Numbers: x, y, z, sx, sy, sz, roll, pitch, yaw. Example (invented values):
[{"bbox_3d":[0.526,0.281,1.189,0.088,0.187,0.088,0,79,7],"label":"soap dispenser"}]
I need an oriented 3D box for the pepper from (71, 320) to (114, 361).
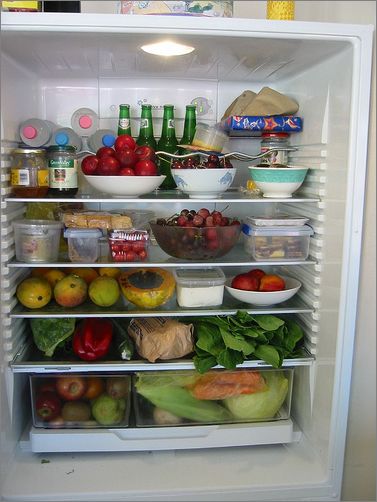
[{"bbox_3d":[-0.306,0.274,1.291,0.122,0.080,0.198,8,18,-8],"label":"pepper"}]

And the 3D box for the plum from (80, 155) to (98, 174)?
[{"bbox_3d":[-0.278,-0.245,1.178,0.087,0.053,0.044,8,18,40],"label":"plum"}]

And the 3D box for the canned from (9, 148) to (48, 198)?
[{"bbox_3d":[-0.459,-0.221,1.168,0.112,0.135,0.148,-8,14,-17],"label":"canned"}]

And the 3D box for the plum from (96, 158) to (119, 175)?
[{"bbox_3d":[-0.231,-0.235,1.144,0.068,0.051,0.057,-3,14,1],"label":"plum"}]

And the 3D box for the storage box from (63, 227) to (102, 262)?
[{"bbox_3d":[-0.306,-0.024,1.214,0.133,0.099,0.103,0,8,-8],"label":"storage box"}]

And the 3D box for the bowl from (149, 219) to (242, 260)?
[{"bbox_3d":[0.018,-0.075,1.314,0.250,0.115,0.220,-9,20,-30],"label":"bowl"}]

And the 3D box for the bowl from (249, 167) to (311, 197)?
[{"bbox_3d":[0.249,-0.227,1.260,0.170,0.093,0.185,-2,16,0],"label":"bowl"}]

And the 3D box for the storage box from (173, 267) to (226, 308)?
[{"bbox_3d":[0.021,0.100,1.340,0.151,0.109,0.168,-4,15,-3],"label":"storage box"}]

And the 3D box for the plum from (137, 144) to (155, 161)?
[{"bbox_3d":[-0.121,-0.285,1.208,0.047,0.042,0.054,-6,-2,1],"label":"plum"}]

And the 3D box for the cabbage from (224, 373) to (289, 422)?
[{"bbox_3d":[0.225,0.457,1.323,0.185,0.119,0.158,-7,1,-8],"label":"cabbage"}]

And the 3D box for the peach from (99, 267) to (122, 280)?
[{"bbox_3d":[-0.270,0.073,1.406,0.056,0.051,0.064,-15,-14,2],"label":"peach"}]

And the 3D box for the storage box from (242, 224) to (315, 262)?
[{"bbox_3d":[0.279,-0.037,1.338,0.217,0.110,0.172,-1,8,-8],"label":"storage box"}]

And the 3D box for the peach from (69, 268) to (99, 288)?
[{"bbox_3d":[-0.358,0.089,1.400,0.071,0.063,0.081,3,-1,1],"label":"peach"}]

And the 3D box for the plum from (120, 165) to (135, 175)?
[{"bbox_3d":[-0.174,-0.220,1.140,0.032,0.028,0.028,0,-13,-7],"label":"plum"}]

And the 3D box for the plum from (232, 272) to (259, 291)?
[{"bbox_3d":[0.180,0.094,1.284,0.061,0.058,0.061,3,-2,-18],"label":"plum"}]

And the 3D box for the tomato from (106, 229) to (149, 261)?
[{"bbox_3d":[-0.180,-0.019,1.220,0.116,0.072,0.093,-1,4,-1],"label":"tomato"}]

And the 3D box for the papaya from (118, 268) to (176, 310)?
[{"bbox_3d":[-0.125,0.108,1.292,0.144,0.075,0.136,0,16,-2],"label":"papaya"}]

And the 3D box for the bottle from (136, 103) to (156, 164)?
[{"bbox_3d":[-0.133,-0.407,1.464,0.099,0.219,0.083,-6,24,-15],"label":"bottle"}]

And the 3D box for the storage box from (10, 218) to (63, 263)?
[{"bbox_3d":[-0.424,-0.034,1.202,0.116,0.135,0.128,1,18,4],"label":"storage box"}]

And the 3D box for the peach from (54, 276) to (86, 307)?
[{"bbox_3d":[-0.384,0.124,1.299,0.095,0.090,0.096,4,27,-20],"label":"peach"}]

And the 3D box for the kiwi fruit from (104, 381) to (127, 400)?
[{"bbox_3d":[-0.217,0.413,1.234,0.056,0.060,0.036,9,0,-6],"label":"kiwi fruit"}]

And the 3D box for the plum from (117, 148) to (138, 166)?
[{"bbox_3d":[-0.175,-0.263,1.169,0.063,0.053,0.034,-7,14,-13],"label":"plum"}]

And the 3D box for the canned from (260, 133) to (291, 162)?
[{"bbox_3d":[0.302,-0.343,1.410,0.110,0.104,0.106,2,7,17],"label":"canned"}]

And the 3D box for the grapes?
[{"bbox_3d":[0.029,-0.047,1.207,0.192,0.095,0.194,0,0,-10],"label":"grapes"}]

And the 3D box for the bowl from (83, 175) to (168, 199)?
[{"bbox_3d":[-0.180,-0.184,1.168,0.223,0.074,0.095,-4,13,-4],"label":"bowl"}]

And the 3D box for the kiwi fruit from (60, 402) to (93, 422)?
[{"bbox_3d":[-0.336,0.480,1.228,0.083,0.056,0.057,7,-14,-18],"label":"kiwi fruit"}]

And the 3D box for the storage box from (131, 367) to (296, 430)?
[{"bbox_3d":[0.084,0.431,1.245,0.323,0.096,0.232,-1,-6,-4],"label":"storage box"}]

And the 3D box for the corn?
[{"bbox_3d":[-0.016,0.474,1.263,0.311,0.092,0.094,14,-4,-3],"label":"corn"}]

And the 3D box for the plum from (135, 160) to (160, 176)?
[{"bbox_3d":[-0.126,-0.238,1.175,0.063,0.044,0.065,-7,14,-12],"label":"plum"}]

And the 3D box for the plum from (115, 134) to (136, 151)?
[{"bbox_3d":[-0.195,-0.327,1.239,0.066,0.061,0.074,-4,15,-2],"label":"plum"}]

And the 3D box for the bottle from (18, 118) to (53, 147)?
[{"bbox_3d":[-0.473,-0.365,1.268,0.103,0.089,0.114,-3,17,-6],"label":"bottle"}]

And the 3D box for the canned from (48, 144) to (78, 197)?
[{"bbox_3d":[-0.357,-0.233,1.188,0.079,0.139,0.083,-4,20,-16],"label":"canned"}]
